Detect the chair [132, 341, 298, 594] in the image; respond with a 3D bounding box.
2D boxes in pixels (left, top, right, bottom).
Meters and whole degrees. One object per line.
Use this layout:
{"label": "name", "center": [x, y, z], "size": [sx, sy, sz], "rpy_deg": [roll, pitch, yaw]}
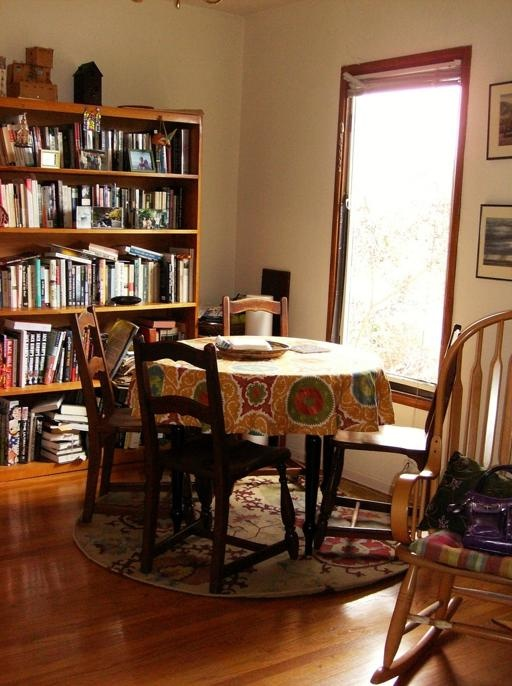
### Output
{"label": "chair", "center": [-0.148, 0.418, 2.087], "size": [0.454, 0.866, 0.652], "rpy_deg": [5, 4, 26]}
